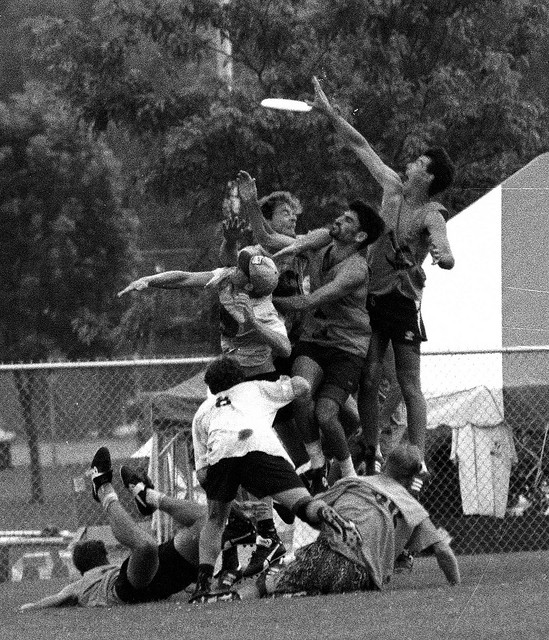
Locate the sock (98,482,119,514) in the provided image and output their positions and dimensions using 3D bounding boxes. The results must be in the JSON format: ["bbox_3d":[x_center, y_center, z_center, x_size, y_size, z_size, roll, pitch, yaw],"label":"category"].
[{"bbox_3d":[-0.937,0.985,6.247,0.070,0.097,0.217,-8,12,-12],"label":"sock"}]

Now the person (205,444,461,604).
[{"bbox_3d":[0.320,1.101,6.012,0.845,0.780,1.783,5,1,45],"label":"person"}]

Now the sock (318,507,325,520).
[{"bbox_3d":[0.230,0.975,5.628,0.015,0.064,0.038,-9,10,-42],"label":"sock"}]

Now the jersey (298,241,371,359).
[{"bbox_3d":[0.388,-0.130,6.835,0.359,0.675,0.459,-9,28,-32],"label":"jersey"}]

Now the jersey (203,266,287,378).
[{"bbox_3d":[-0.167,0.031,6.424,0.439,0.633,0.864,-3,8,-4],"label":"jersey"}]

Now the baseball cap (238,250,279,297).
[{"bbox_3d":[-0.089,-0.268,6.438,0.149,0.268,0.173,-16,10,41],"label":"baseball cap"}]

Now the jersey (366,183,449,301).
[{"bbox_3d":[0.796,-0.481,6.948,0.532,0.727,0.393,0,8,15],"label":"jersey"}]

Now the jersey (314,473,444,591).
[{"bbox_3d":[0.511,1.176,6.049,0.748,0.627,0.392,-7,9,-29],"label":"jersey"}]

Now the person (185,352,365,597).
[{"bbox_3d":[-0.079,0.762,5.923,1.081,1.360,0.559,-21,-35,29],"label":"person"}]

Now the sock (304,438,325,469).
[{"bbox_3d":[0.238,0.777,6.575,0.148,0.182,0.105,-8,9,-35],"label":"sock"}]

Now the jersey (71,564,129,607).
[{"bbox_3d":[-0.974,1.498,6.282,0.222,0.134,0.309,1,4,-11],"label":"jersey"}]

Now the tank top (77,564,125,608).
[{"bbox_3d":[-0.987,1.488,6.283,0.253,0.229,0.503,-4,8,-11],"label":"tank top"}]

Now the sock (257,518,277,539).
[{"bbox_3d":[-0.053,1.159,6.246,0.087,0.105,0.099,-2,4,32],"label":"sock"}]

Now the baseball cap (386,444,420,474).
[{"bbox_3d":[0.712,0.770,6.254,0.209,0.153,0.171,1,9,23],"label":"baseball cap"}]

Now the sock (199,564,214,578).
[{"bbox_3d":[-0.357,1.298,5.819,0.066,0.080,0.064,7,-7,-43],"label":"sock"}]

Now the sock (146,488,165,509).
[{"bbox_3d":[-0.669,0.997,6.236,0.095,0.100,0.080,3,0,7],"label":"sock"}]
